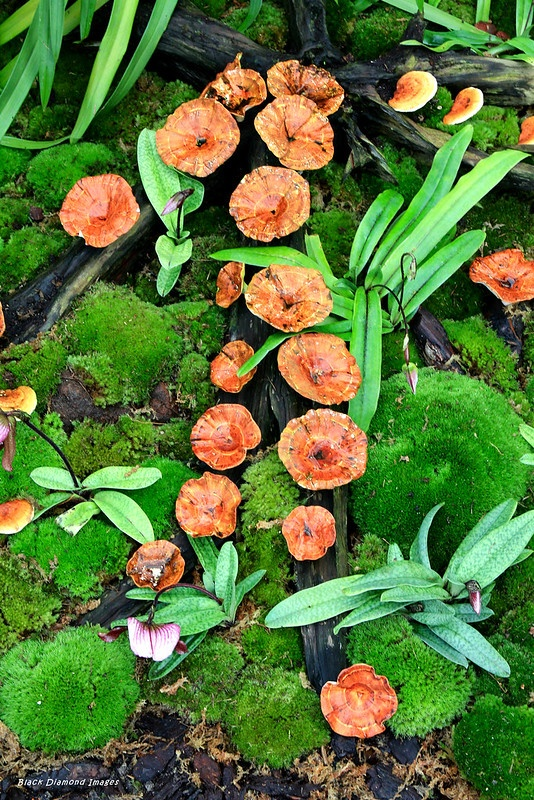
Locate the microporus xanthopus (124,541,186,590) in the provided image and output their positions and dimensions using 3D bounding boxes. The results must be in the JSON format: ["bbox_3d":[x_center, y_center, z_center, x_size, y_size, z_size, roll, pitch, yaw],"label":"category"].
[{"bbox_3d":[-0.710,1.033,4.333,0.333,0.303,0.104,14,-2,3],"label":"microporus xanthopus"}]
